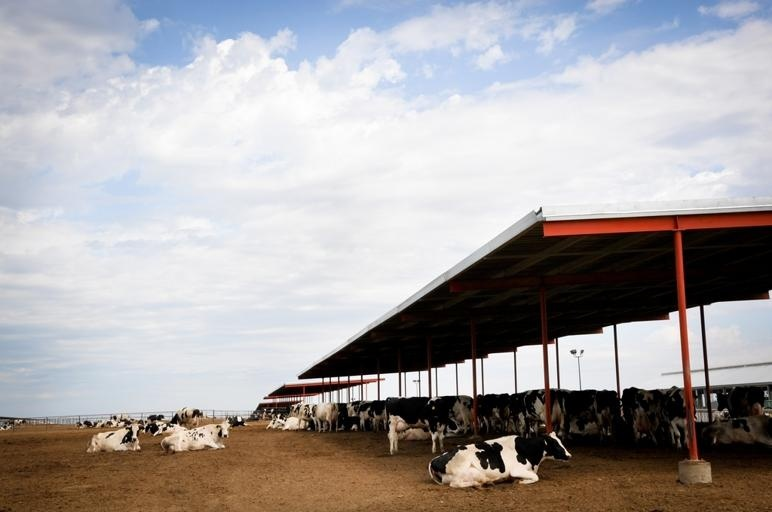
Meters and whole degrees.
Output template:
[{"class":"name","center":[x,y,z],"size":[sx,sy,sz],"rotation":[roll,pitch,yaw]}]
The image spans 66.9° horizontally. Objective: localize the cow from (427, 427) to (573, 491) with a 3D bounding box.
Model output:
[{"class":"cow","center":[3.101,5.448,15.590],"size":[3.725,1.260,1.297],"rotation":[-1,-16,-10]}]

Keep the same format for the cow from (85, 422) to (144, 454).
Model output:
[{"class":"cow","center":[-10.948,7.412,23.814],"size":[1.874,1.089,0.988],"rotation":[7,-19,-22]}]

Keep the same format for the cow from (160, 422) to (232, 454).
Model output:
[{"class":"cow","center":[-7.749,7.517,24.202],"size":[1.789,1.107,2.868],"rotation":[-5,-18,17]}]
